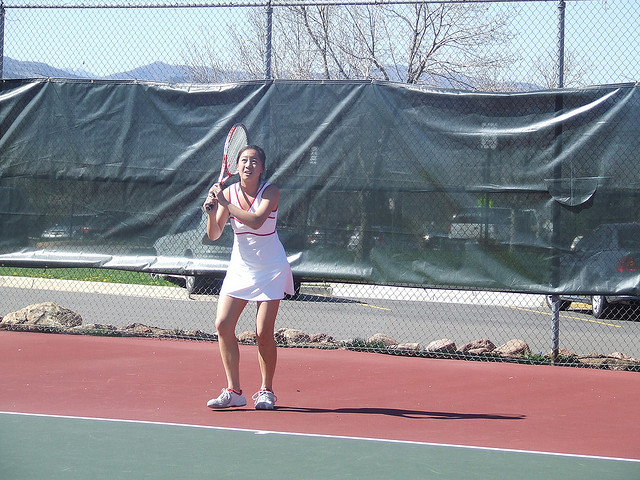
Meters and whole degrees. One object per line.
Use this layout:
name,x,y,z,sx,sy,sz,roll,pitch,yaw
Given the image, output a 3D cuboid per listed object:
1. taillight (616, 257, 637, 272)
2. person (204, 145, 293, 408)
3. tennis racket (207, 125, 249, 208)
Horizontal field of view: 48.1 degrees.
taillight,3.457,0.288,8.131,0.135,0.212,0.048,3,5,0
person,-0.658,0.334,6.703,0.844,2.380,0.917,2,2,20
tennis racket,-0.943,-0.753,7.390,0.085,0.423,1.050,4,37,16
